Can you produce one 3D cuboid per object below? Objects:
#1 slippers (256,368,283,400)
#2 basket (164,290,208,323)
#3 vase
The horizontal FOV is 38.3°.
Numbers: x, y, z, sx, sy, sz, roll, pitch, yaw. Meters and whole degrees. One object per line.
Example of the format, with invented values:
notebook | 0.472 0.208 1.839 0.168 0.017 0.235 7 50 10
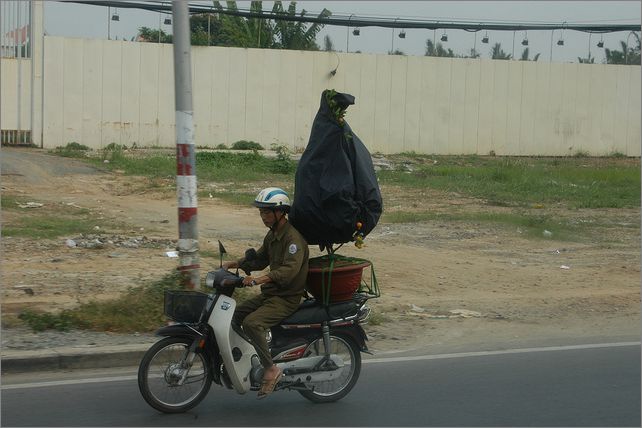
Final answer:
slippers | -1.156 3.810 20.388 0.323 0.769 0.249 29 2 32
basket | -2.959 2.054 20.211 0.958 0.708 0.193 -1 6 -6
vase | 0.440 1.487 20.875 1.235 0.715 1.186 -1 -3 26
